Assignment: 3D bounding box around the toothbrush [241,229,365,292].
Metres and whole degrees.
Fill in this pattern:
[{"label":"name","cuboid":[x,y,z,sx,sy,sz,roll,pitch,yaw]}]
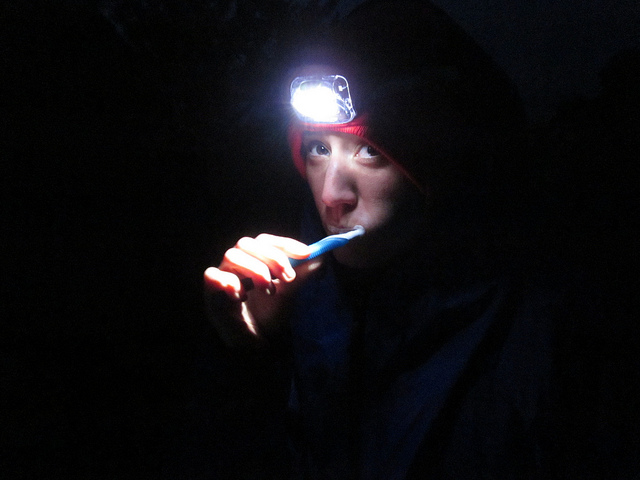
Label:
[{"label":"toothbrush","cuboid":[-0.066,0.092,2.598,0.497,0.078,0.075,-26,8,-26]}]
